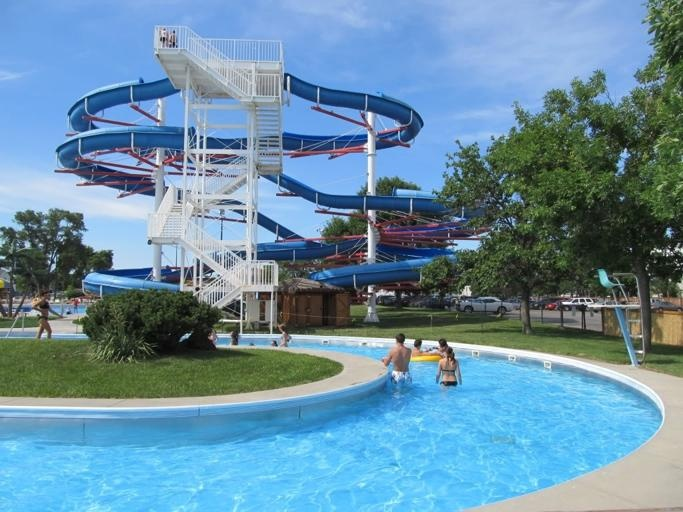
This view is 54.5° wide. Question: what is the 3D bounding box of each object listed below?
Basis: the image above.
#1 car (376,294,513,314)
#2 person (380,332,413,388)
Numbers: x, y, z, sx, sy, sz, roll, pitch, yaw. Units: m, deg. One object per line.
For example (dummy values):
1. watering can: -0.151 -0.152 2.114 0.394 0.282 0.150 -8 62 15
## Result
1. car: 9.220 3.984 54.976 10.586 1.536 2.421 -2 -3 13
2. person: 1.546 2.838 18.686 0.705 1.360 0.615 -4 -7 22
